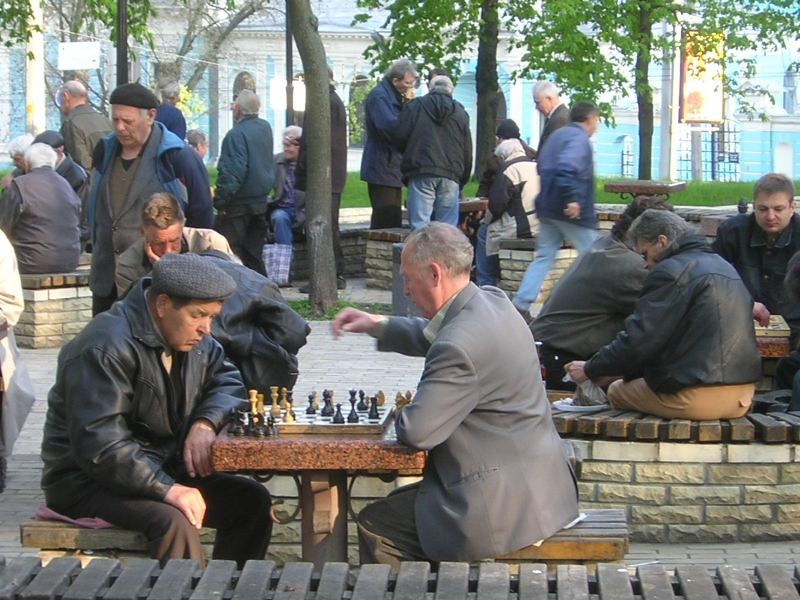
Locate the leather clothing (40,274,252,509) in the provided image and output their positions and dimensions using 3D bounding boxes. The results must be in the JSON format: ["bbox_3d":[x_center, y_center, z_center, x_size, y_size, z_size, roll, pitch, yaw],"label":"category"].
[{"bbox_3d":[-1.595,0.447,7.433,1.242,1.295,1.303,2,0,26],"label":"leather clothing"}]

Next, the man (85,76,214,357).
[{"bbox_3d":[-1.954,-0.448,10.174,1.117,2.198,0.839,2,2,18],"label":"man"}]

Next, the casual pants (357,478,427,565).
[{"bbox_3d":[0.007,1.227,7.300,0.502,0.440,0.361,2,15,17],"label":"casual pants"}]

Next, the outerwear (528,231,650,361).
[{"bbox_3d":[1.423,0.007,9.851,0.738,0.874,0.606,27,-4,37],"label":"outerwear"}]

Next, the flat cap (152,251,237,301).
[{"bbox_3d":[-1.101,-0.129,6.979,0.348,0.127,0.275,7,5,27],"label":"flat cap"}]

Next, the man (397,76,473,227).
[{"bbox_3d":[0.388,-1.533,13.563,0.802,1.584,0.521,-5,9,-27],"label":"man"}]

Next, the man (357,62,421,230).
[{"bbox_3d":[-0.045,-1.522,14.786,0.785,2.298,0.786,7,25,12],"label":"man"}]

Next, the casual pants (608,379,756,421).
[{"bbox_3d":[1.872,0.673,8.679,0.929,0.245,0.543,5,-11,45],"label":"casual pants"}]

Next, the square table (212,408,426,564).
[{"bbox_3d":[-0.412,0.951,7.016,1.357,0.822,0.712,0,-4,0],"label":"square table"}]

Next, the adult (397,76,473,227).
[{"bbox_3d":[0.389,-1.533,13.564,0.804,1.584,0.521,-5,9,-27],"label":"adult"}]

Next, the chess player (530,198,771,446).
[{"bbox_3d":[1.837,0.223,9.020,1.436,1.326,1.062,4,-1,28],"label":"chess player"}]

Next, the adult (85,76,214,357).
[{"bbox_3d":[-1.951,-0.490,10.175,1.109,2.246,0.780,1,2,14],"label":"adult"}]

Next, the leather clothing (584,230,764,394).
[{"bbox_3d":[1.796,0.107,8.430,1.032,0.984,0.386,1,8,12],"label":"leather clothing"}]

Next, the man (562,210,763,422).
[{"bbox_3d":[1.816,0.102,8.803,1.359,1.294,0.981,-1,-1,25],"label":"man"}]

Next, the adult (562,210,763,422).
[{"bbox_3d":[1.785,0.092,8.801,1.032,1.301,1.343,-1,0,-39],"label":"adult"}]
